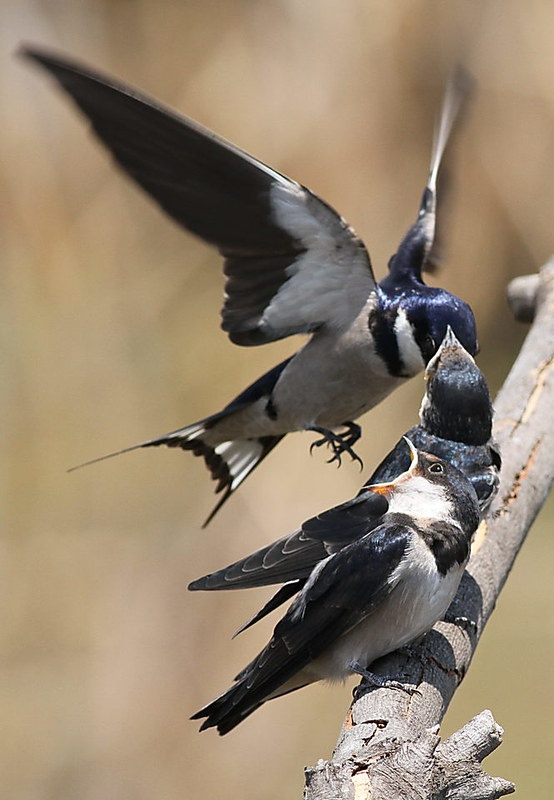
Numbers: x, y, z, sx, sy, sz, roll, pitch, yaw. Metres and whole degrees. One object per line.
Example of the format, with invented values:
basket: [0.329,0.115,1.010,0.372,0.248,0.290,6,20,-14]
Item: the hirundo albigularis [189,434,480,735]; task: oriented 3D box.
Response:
hirundo albigularis: [0.108,0.411,2.540,0.705,0.485,0.389,-16,-14,25]
